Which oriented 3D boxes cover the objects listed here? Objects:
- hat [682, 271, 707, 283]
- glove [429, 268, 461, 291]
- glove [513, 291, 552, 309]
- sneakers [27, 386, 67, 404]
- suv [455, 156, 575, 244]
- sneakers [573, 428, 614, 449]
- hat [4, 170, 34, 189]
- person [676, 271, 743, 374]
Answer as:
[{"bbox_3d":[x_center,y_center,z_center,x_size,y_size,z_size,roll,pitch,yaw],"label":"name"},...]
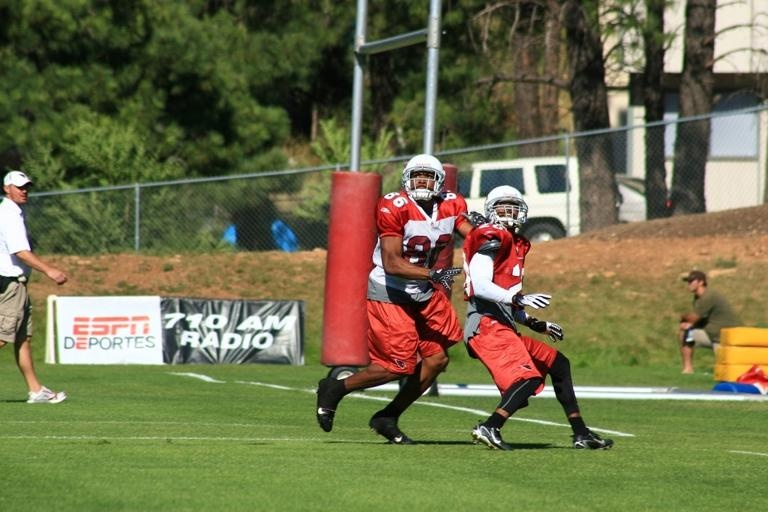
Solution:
[{"bbox_3d":[6.072,0.415,33.336,0.516,0.226,0.346,1,-5,0],"label":"hat"},{"bbox_3d":[0.986,0.350,26.354,0.357,0.101,0.341,-17,-47,19],"label":"glove"},{"bbox_3d":[2.331,0.692,26.460,0.540,0.186,0.425,-1,0,-42],"label":"glove"},{"bbox_3d":[-5.591,2.312,28.742,0.638,0.258,0.258,-1,-1,-2],"label":"sneakers"},{"bbox_3d":[3.025,-1.284,38.029,2.696,1.310,1.546,3,2,-2],"label":"suv"},{"bbox_3d":[3.259,2.834,26.602,0.626,0.256,0.255,-1,-2,-2],"label":"sneakers"},{"bbox_3d":[-6.154,-1.240,28.584,0.529,0.263,0.377,-2,2,14],"label":"hat"},{"bbox_3d":[6.260,1.294,33.246,1.276,1.672,0.457,-2,-1,41],"label":"person"}]
